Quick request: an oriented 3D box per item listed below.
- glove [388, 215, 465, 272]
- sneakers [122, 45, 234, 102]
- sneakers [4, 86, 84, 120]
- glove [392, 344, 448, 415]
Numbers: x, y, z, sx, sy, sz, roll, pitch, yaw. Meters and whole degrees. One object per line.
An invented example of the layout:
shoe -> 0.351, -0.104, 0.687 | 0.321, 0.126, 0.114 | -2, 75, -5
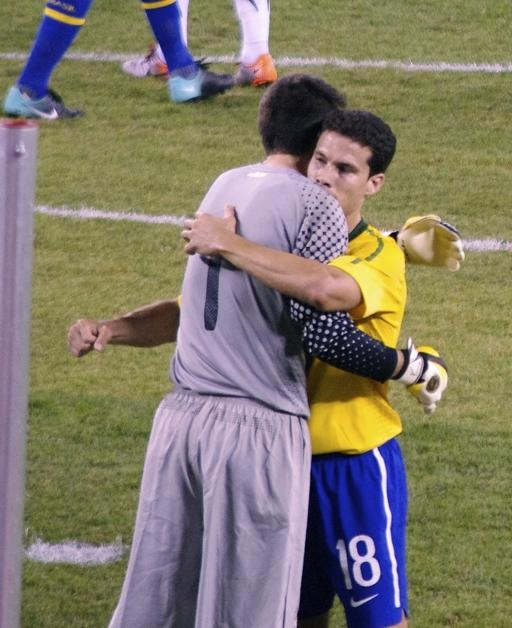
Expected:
glove -> 0.544, -0.228, 4.934 | 0.213, 0.180, 0.108 | 16, 14, 32
sneakers -> -0.388, -1.144, 7.431 | 0.388, 0.197, 0.140 | 16, 25, 32
sneakers -> -1.009, -0.969, 7.252 | 0.123, 0.175, 0.378 | 14, 8, 42
glove -> 0.486, 0.193, 4.692 | 0.087, 0.182, 0.201 | -16, -24, -2
